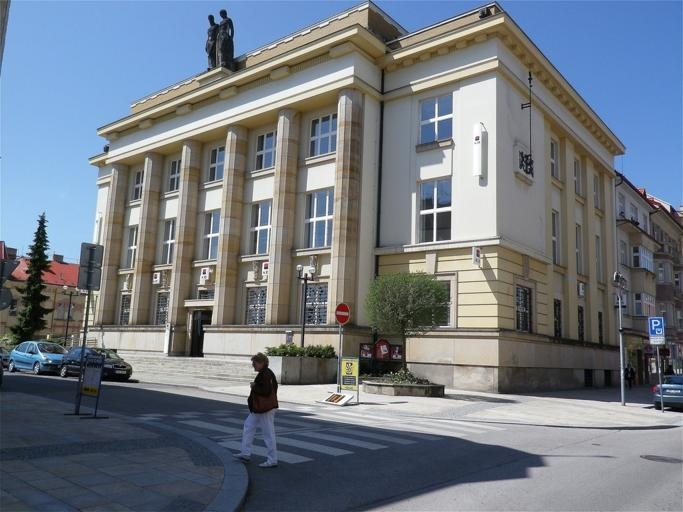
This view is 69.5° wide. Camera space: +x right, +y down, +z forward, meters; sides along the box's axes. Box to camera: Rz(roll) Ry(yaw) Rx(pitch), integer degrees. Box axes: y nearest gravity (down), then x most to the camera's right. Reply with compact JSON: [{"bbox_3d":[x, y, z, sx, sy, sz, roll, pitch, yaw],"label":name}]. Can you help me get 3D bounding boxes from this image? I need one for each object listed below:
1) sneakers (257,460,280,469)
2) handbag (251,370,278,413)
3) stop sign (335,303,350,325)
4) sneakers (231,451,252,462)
[{"bbox_3d":[-1.315,3.672,8.751,0.331,0.134,0.122,6,-18,-3],"label":"sneakers"},{"bbox_3d":[-1.405,2.416,8.889,0.469,0.796,0.281,7,-13,-19],"label":"handbag"},{"bbox_3d":[0.046,2.263,19.700,0.445,0.927,1.449,1,-13,4],"label":"stop sign"},{"bbox_3d":[-1.854,3.613,8.957,0.412,0.181,0.148,8,-22,15],"label":"sneakers"}]
